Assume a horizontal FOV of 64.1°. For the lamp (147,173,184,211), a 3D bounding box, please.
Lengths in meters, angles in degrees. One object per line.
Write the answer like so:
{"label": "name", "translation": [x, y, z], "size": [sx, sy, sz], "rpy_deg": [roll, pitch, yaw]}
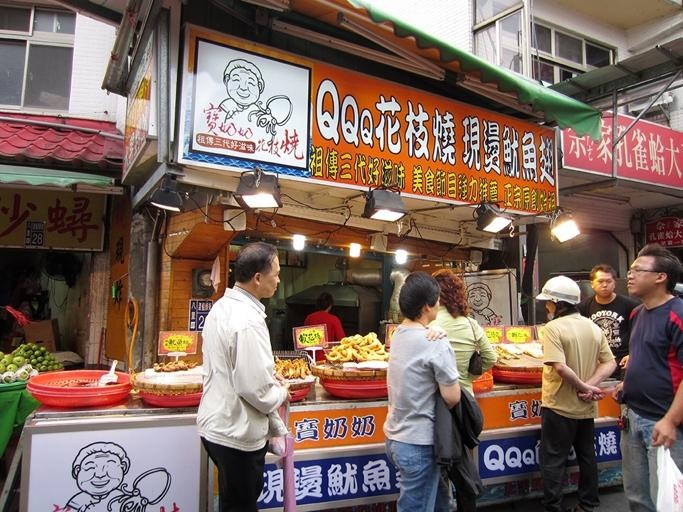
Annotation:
{"label": "lamp", "translation": [-1.953, -0.667, 6.122], "size": [0.350, 0.452, 0.362], "rpy_deg": [12, -5, -23]}

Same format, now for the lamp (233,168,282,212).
{"label": "lamp", "translation": [-0.922, -0.764, 6.138], "size": [0.471, 0.386, 0.500], "rpy_deg": [0, -6, -3]}

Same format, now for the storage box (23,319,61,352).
{"label": "storage box", "translation": [-5.553, 1.466, 10.279], "size": [0.714, 0.783, 0.538], "rpy_deg": [9, -12, -41]}

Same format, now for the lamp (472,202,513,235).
{"label": "lamp", "translation": [2.089, -0.554, 7.447], "size": [0.470, 0.405, 0.449], "rpy_deg": [5, -7, -38]}

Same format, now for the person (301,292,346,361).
{"label": "person", "translation": [-0.220, 0.954, 8.505], "size": [0.574, 0.753, 0.681], "rpy_deg": [-5, -7, 40]}

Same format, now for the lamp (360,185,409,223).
{"label": "lamp", "translation": [0.512, -0.573, 6.646], "size": [0.470, 0.477, 0.381], "rpy_deg": [7, -17, -34]}

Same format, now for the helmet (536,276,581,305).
{"label": "helmet", "translation": [2.363, 0.353, 5.934], "size": [0.367, 0.266, 0.288], "rpy_deg": [4, -1, 19]}
